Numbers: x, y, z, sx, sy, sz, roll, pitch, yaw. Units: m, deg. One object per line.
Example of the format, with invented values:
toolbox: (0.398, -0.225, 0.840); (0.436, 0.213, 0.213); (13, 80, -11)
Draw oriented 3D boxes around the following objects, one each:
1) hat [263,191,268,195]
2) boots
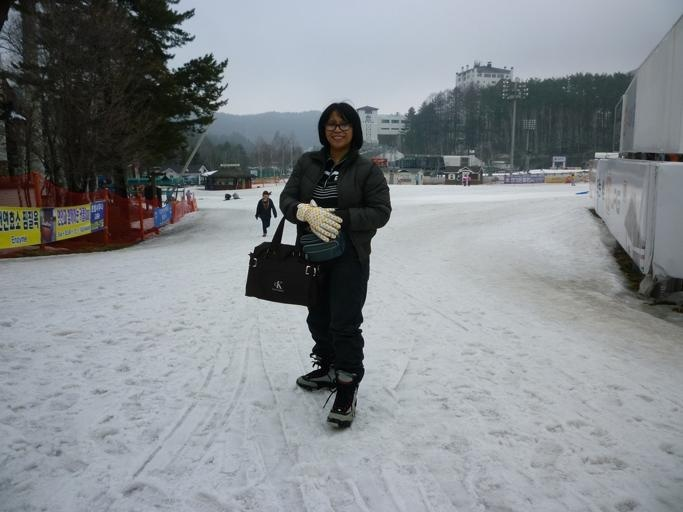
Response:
hat: (-3.004, -2.468, 17.617); (0.210, 0.239, 0.291); (-6, 14, -21)
boots: (-0.077, 1.223, 4.278); (0.433, 0.481, 0.869); (-6, 14, -23)
